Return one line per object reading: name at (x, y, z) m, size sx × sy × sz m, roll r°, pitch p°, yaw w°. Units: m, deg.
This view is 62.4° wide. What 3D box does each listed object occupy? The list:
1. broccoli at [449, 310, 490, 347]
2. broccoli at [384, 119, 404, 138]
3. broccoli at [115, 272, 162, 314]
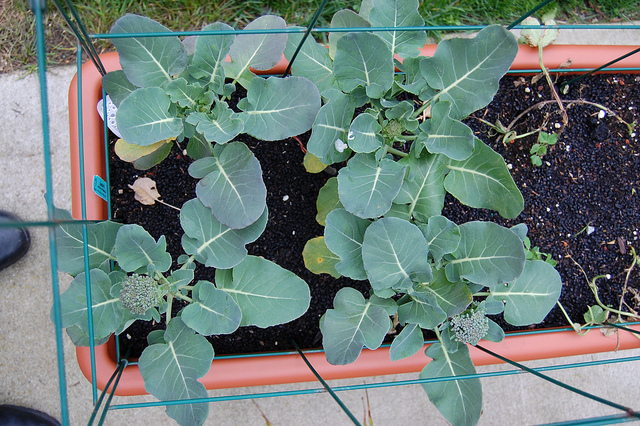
broccoli at (0.579, 0.441, 2.112) m, size 0.123 × 0.079 × 0.154 m, roll -43°, pitch 90°, yaw -3°
broccoli at (0.294, -0.334, 2.103) m, size 0.065 × 0.033 × 0.070 m, roll 9°, pitch 85°, yaw -1°
broccoli at (-0.695, 0.313, 2.006) m, size 0.144 × 0.080 × 0.168 m, roll 0°, pitch 95°, yaw -6°
